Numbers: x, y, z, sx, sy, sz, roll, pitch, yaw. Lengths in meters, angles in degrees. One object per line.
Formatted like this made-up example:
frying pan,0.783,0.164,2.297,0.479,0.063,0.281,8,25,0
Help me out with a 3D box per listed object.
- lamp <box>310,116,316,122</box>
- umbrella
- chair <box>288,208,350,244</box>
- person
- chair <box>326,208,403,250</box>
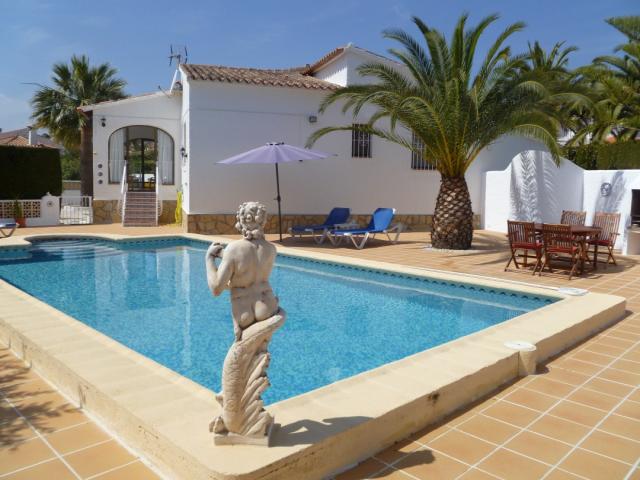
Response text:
lamp,-0.230,-4.361,17.063,0.292,0.200,0.158,-1,5,-12
umbrella,-1.317,-1.542,14.750,3.112,2.858,3.220,-2,10,4
chair,0.040,-0.561,15.666,1.943,1.033,1.183,-5,7,-34
person,-0.593,0.195,3.630,0.551,0.961,0.390,-1,8,-14
chair,1.514,-0.348,14.464,2.090,1.119,1.340,-2,5,-31
